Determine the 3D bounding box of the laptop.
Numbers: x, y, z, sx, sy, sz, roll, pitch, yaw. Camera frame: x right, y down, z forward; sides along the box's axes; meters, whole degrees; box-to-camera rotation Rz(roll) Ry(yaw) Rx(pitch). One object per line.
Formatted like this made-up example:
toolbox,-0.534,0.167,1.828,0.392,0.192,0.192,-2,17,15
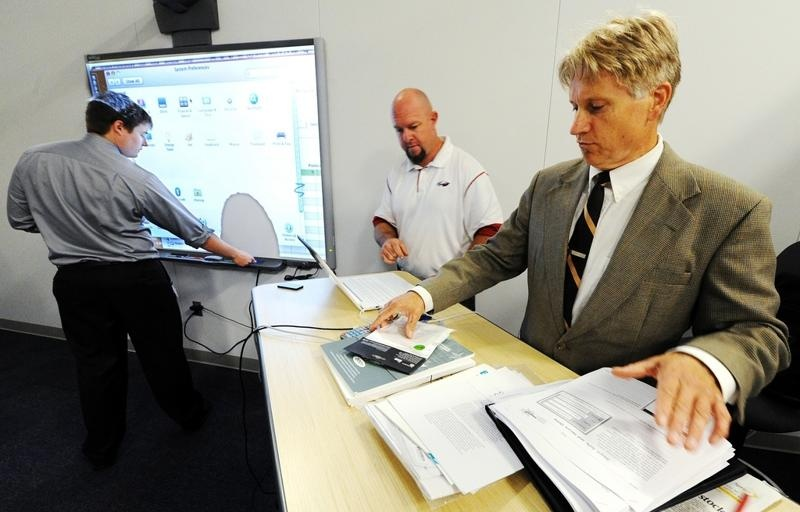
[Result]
laptop,-0.241,0.047,3.150,0.578,0.364,0.620,-13,15,-15

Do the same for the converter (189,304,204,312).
converter,-1.666,0.433,4.440,0.072,0.071,0.026,-18,17,-4

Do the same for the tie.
tie,0.903,-0.053,2.682,0.089,0.844,0.137,5,13,-30
